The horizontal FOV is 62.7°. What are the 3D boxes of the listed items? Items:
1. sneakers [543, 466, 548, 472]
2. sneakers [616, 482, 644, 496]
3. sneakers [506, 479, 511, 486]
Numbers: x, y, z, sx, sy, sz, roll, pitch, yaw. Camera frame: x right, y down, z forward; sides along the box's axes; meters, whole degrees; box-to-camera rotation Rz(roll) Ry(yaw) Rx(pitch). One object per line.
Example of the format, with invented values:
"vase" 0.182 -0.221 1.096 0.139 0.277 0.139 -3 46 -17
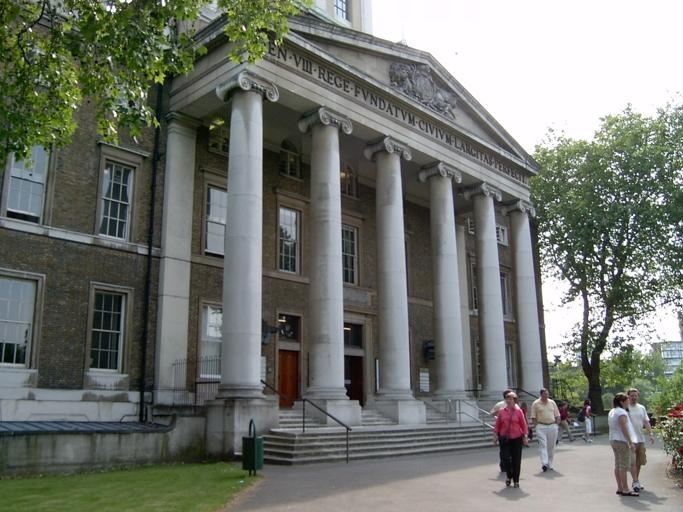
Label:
"sneakers" 5.236 5.519 14.500 0.087 0.126 0.059 -4 -2 37
"sneakers" 5.691 4.610 11.091 0.417 0.121 0.230 -3 -10 -3
"sneakers" 3.607 4.939 12.205 0.096 0.100 0.303 -2 -20 9
